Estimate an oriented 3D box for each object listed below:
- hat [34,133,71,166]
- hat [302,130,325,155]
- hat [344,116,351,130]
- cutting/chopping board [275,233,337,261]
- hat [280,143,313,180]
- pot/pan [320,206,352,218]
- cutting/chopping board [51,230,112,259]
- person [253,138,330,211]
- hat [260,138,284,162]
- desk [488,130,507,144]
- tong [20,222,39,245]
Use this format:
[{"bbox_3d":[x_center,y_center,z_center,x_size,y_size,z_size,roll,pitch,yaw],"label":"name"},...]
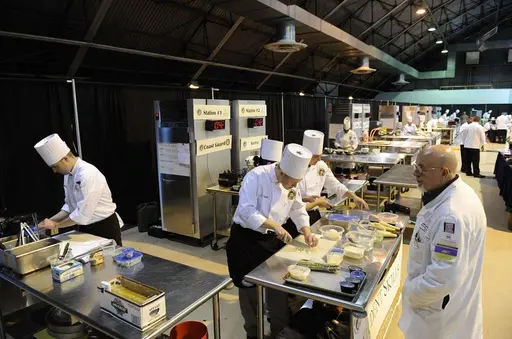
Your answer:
[{"bbox_3d":[-2.215,-0.228,3.810,0.319,0.278,0.360,9,37,16],"label":"hat"},{"bbox_3d":[0.734,-0.369,4.374,0.311,0.343,0.298,-10,13,-41],"label":"hat"},{"bbox_3d":[2.458,-1.289,9.057,0.249,0.420,0.295,1,-20,19],"label":"hat"},{"bbox_3d":[0.506,0.780,3.355,0.465,0.104,0.529,4,11,35],"label":"cutting/chopping board"},{"bbox_3d":[0.399,-0.073,3.470,0.309,0.270,0.351,3,37,-12],"label":"hat"},{"bbox_3d":[0.975,0.514,4.084,0.461,0.174,0.202,-5,3,24],"label":"pot/pan"},{"bbox_3d":[-1.779,0.769,3.505,0.322,0.081,0.347,10,11,20],"label":"cutting/chopping board"},{"bbox_3d":[0.422,0.016,4.982,0.975,1.345,0.825,18,23,35],"label":"person"},{"bbox_3d":[0.236,-0.281,5.027,0.302,0.256,0.326,6,11,-17],"label":"hat"},{"bbox_3d":[11.833,-1.508,16.816,0.941,0.636,0.916,5,12,39],"label":"desk"},{"bbox_3d":[-2.196,0.638,3.288,0.137,0.179,0.288,1,-11,-8],"label":"tong"}]
